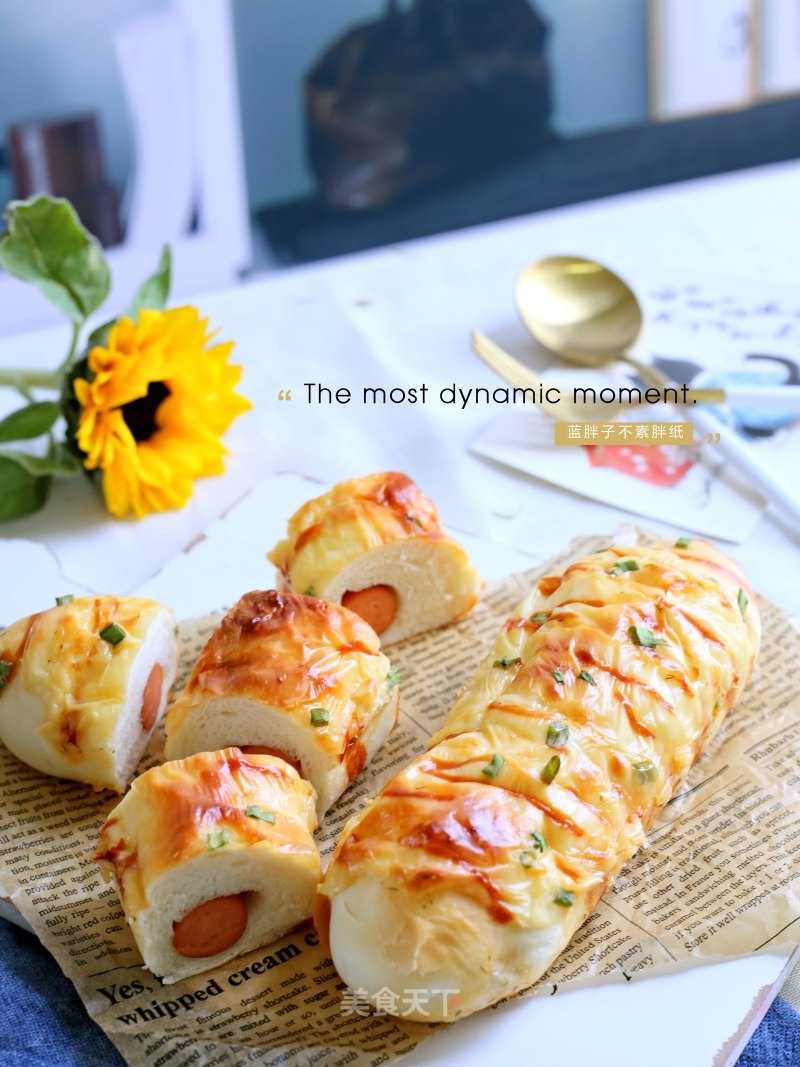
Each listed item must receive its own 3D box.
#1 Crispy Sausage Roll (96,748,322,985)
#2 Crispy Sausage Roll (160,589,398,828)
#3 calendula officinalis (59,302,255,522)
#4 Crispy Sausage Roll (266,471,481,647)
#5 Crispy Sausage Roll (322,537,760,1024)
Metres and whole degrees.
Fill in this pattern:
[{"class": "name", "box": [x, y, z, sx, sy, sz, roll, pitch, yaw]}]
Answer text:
[{"class": "Crispy Sausage Roll", "box": [-0.235, 0.417, 1.349, 0.304, 0.241, 0.200, -14, 26, -20]}, {"class": "Crispy Sausage Roll", "box": [-0.200, 0.267, 1.711, 0.379, 0.311, 0.337, 23, 35, 3]}, {"class": "calendula officinalis", "box": [-0.502, -0.247, 2.054, 0.185, 0.390, 0.439, 20, 32, 31]}, {"class": "Crispy Sausage Roll", "box": [-0.046, 0.055, 1.937, 0.387, 0.258, 0.247, -20, 40, -23]}, {"class": "Crispy Sausage Roll", "box": [0.220, 0.312, 1.454, 0.367, 0.311, 0.820, 9, 27, 29]}]
